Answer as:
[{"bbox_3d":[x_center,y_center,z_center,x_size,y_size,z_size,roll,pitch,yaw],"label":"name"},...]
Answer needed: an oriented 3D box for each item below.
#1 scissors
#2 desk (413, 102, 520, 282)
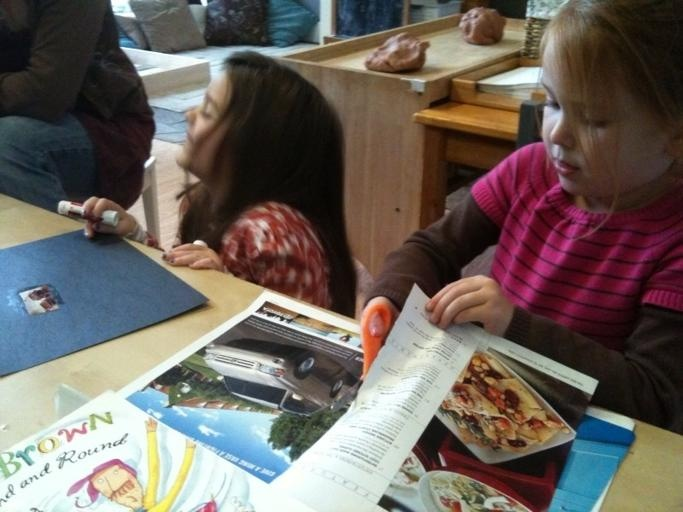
[{"bbox_3d":[0.052,0.124,0.778,0.035,0.032,0.127,-8,43,42],"label":"scissors"},{"bbox_3d":[0.380,-0.240,1.633,0.292,0.318,0.326,9,38,14],"label":"desk"}]
